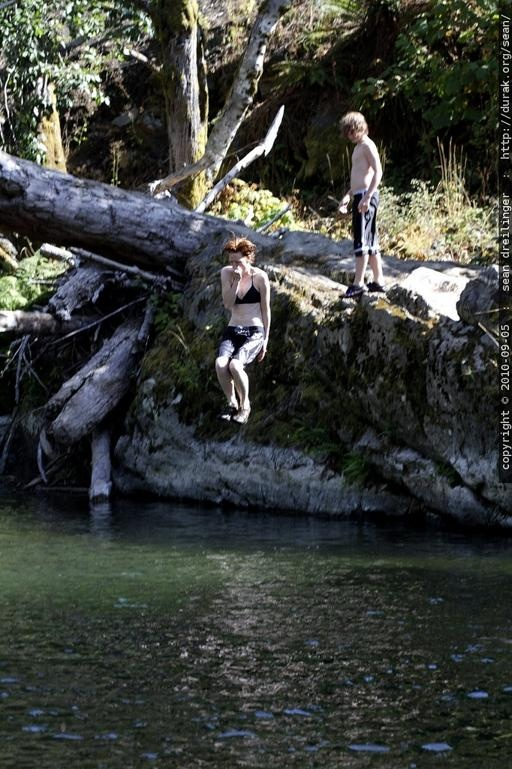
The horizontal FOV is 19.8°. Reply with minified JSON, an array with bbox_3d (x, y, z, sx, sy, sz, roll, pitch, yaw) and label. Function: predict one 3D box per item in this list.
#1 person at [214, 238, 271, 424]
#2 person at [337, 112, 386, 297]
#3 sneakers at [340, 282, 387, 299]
[{"bbox_3d":[-0.115,-0.478,13.035,0.467,1.624,0.534,-1,9,0],"label":"person"},{"bbox_3d":[0.971,-1.597,13.296,0.405,1.726,0.849,0,9,5],"label":"person"},{"bbox_3d":[1.014,-0.848,13.632,0.385,0.244,0.166,-2,1,-8],"label":"sneakers"}]
